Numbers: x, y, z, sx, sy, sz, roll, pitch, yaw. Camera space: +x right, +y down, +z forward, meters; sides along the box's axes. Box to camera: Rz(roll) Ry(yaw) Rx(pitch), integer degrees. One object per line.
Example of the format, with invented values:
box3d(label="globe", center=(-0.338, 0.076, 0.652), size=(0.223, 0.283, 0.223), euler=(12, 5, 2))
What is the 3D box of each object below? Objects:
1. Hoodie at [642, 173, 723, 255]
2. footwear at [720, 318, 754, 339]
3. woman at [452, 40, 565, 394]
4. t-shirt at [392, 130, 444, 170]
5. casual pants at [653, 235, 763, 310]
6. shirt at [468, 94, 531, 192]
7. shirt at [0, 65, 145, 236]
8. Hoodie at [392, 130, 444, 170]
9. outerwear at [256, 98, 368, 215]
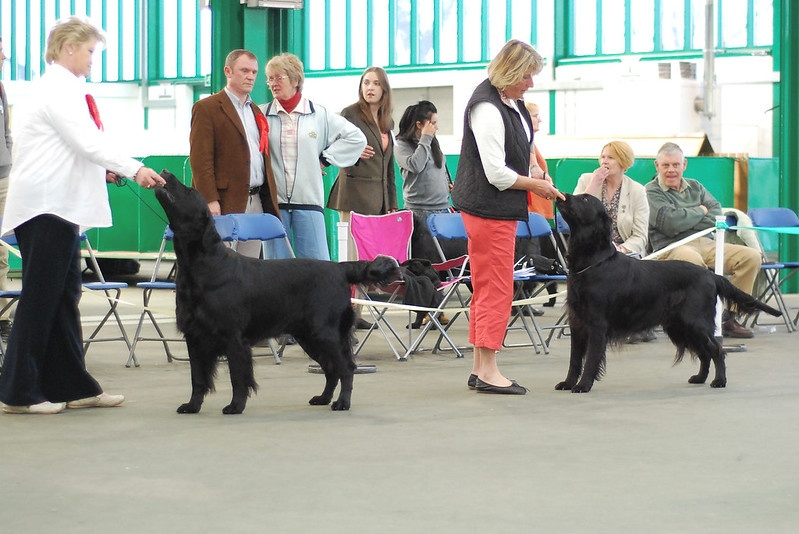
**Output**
box3d(label="Hoodie", center=(2.582, -0.579, 9.209), size=(0.888, 0.943, 0.632), euler=(-6, 5, -35))
box3d(label="footwear", center=(3.045, 0.575, 8.868), size=(0.362, 0.230, 0.132), euler=(0, 2, 4))
box3d(label="woman", center=(0.751, -0.342, 6.722), size=(0.886, 2.307, 0.856), euler=(1, 5, 11))
box3d(label="t-shirt", center=(0.211, -1.133, 9.751), size=(0.353, 0.491, 0.507), euler=(3, 9, 41))
box3d(label="casual pants", center=(2.835, 0.125, 9.034), size=(0.746, 0.289, 0.729), euler=(4, 12, -30))
box3d(label="shirt", center=(0.632, -0.792, 6.417), size=(0.320, 0.580, 0.206), euler=(-1, 7, 0))
box3d(label="shirt", center=(-2.085, -0.764, 6.467), size=(1.032, 1.424, 0.916), euler=(-1, 6, -22))
box3d(label="Hoodie", center=(0.214, -1.132, 9.747), size=(0.353, 0.491, 0.507), euler=(3, 9, 41))
box3d(label="outerwear", center=(-0.753, -0.926, 8.256), size=(1.209, 0.980, 0.357), euler=(1, -3, -19))
